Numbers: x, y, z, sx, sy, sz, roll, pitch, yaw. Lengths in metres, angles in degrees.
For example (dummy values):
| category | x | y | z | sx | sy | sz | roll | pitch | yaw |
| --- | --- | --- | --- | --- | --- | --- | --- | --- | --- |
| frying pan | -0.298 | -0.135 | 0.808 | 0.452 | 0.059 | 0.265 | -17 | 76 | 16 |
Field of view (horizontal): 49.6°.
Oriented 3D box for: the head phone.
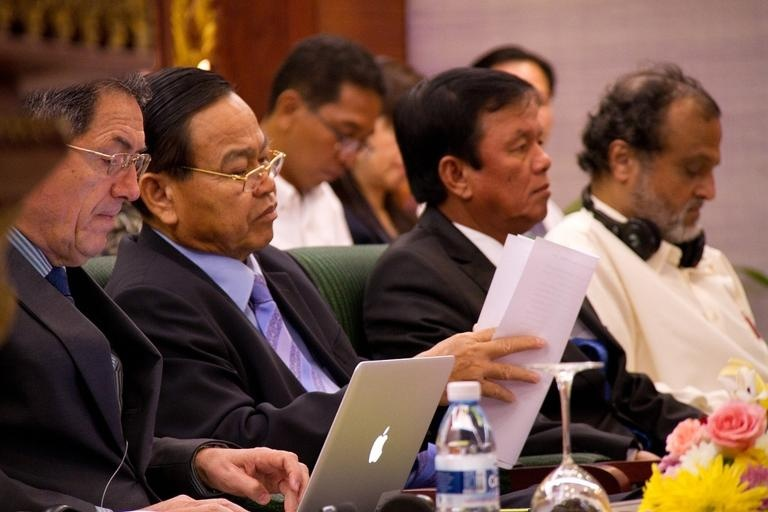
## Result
| category | x | y | z | sx | sy | sz | roll | pitch | yaw |
| --- | --- | --- | --- | --- | --- | --- | --- | --- | --- |
| head phone | 1.232 | -0.085 | 3.955 | 0.480 | 0.161 | 0.400 | 31 | 10 | 9 |
